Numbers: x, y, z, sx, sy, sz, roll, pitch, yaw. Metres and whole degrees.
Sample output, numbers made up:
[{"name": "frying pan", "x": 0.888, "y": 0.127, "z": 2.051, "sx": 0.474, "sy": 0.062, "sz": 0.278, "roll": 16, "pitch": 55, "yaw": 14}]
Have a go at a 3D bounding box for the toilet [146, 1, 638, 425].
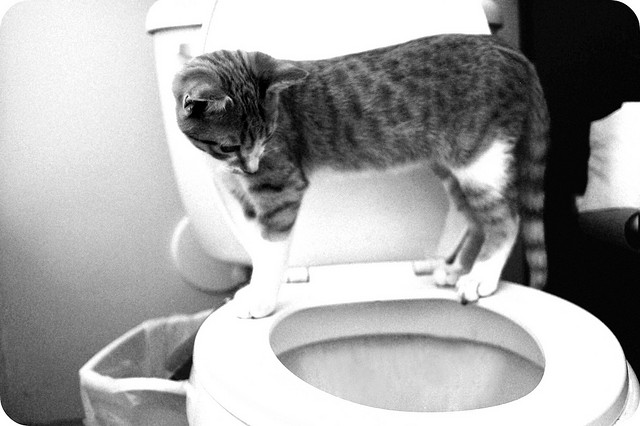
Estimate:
[{"name": "toilet", "x": 0.110, "y": 0.067, "z": 1.573, "sx": 0.717, "sy": 0.797, "sz": 1.190, "roll": -4, "pitch": 67, "yaw": 5}]
